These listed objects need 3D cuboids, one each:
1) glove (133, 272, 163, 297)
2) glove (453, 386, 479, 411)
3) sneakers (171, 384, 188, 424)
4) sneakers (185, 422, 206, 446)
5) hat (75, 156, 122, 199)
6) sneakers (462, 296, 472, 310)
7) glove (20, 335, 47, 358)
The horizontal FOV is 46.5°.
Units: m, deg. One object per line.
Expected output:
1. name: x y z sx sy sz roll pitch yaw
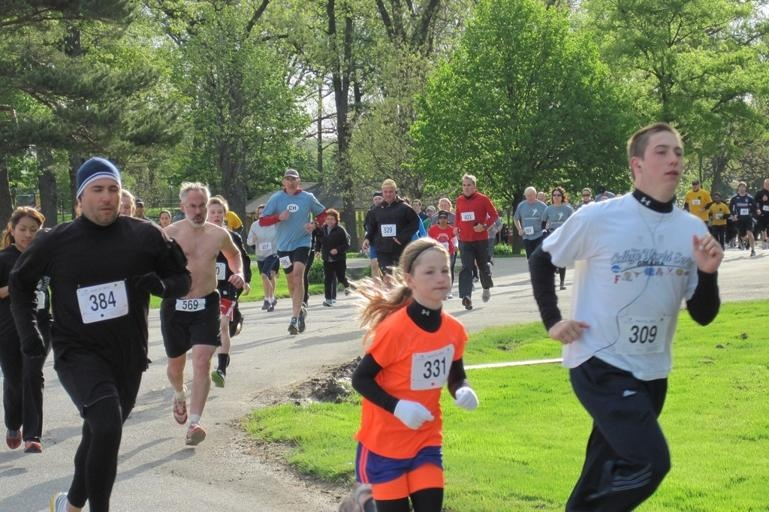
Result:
1. glove: -2.237 0.266 8.464 0.210 0.214 0.188 -1 1 18
2. glove: 0.711 1.265 7.868 0.222 0.096 0.168 22 29 -25
3. sneakers: -2.539 1.847 11.040 0.179 0.522 0.204 -6 12 -12
4. sneakers: -2.202 2.055 10.355 0.145 0.168 0.379 11 -40 -20
5. hat: -2.737 -0.746 8.486 0.329 0.359 0.433 -11 5 -18
6. sneakers: 1.640 0.955 18.037 0.123 0.347 0.157 -6 5 5
7. glove: -3.496 0.890 8.853 0.262 0.189 0.255 2 1 -27
